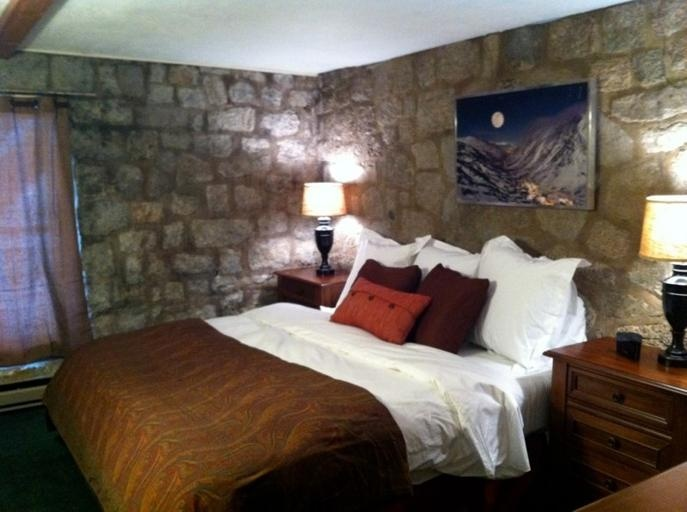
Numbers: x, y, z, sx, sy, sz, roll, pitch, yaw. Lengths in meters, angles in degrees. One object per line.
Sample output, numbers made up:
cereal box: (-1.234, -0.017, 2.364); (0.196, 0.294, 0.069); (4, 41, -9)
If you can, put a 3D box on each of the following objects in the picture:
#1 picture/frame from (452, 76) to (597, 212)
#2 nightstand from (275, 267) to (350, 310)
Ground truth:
picture/frame: (1.269, -0.766, 3.429); (0.108, 0.724, 1.041); (-7, 9, -40)
nightstand: (-0.331, 0.436, 4.804); (0.522, 0.476, 0.417); (14, 12, 30)
